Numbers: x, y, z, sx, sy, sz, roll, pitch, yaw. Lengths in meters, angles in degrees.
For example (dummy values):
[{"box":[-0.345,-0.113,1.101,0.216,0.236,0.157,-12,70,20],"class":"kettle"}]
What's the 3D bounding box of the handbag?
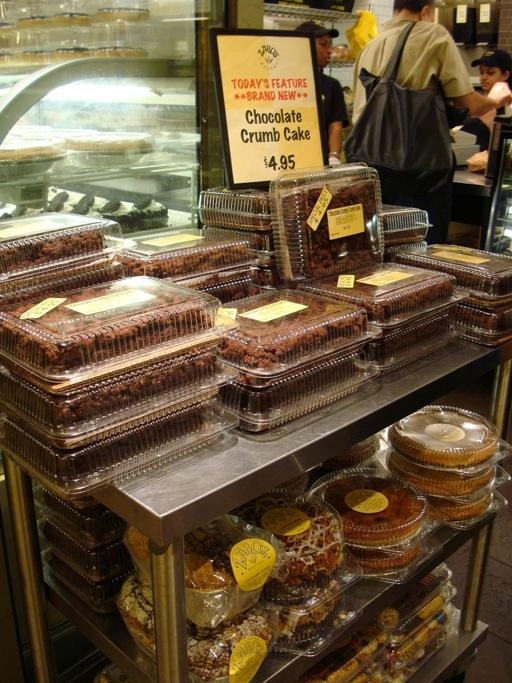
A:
[{"box":[0.798,-1.093,2.983,0.566,0.532,0.324,8,9,-7],"class":"handbag"}]
